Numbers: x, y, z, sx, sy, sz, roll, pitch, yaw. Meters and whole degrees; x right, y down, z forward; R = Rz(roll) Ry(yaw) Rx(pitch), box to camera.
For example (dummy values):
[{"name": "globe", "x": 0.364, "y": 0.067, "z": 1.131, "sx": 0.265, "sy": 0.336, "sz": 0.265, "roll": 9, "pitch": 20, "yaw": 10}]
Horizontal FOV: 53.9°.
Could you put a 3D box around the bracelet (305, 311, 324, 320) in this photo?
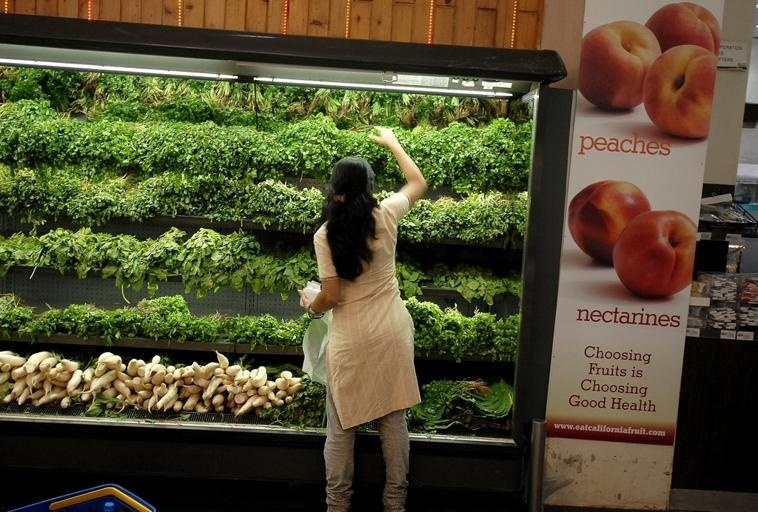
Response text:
[{"name": "bracelet", "x": -0.464, "y": 0.437, "z": 5.377, "sx": 0.073, "sy": 0.055, "sz": 0.116, "roll": 7, "pitch": -11, "yaw": -39}]
